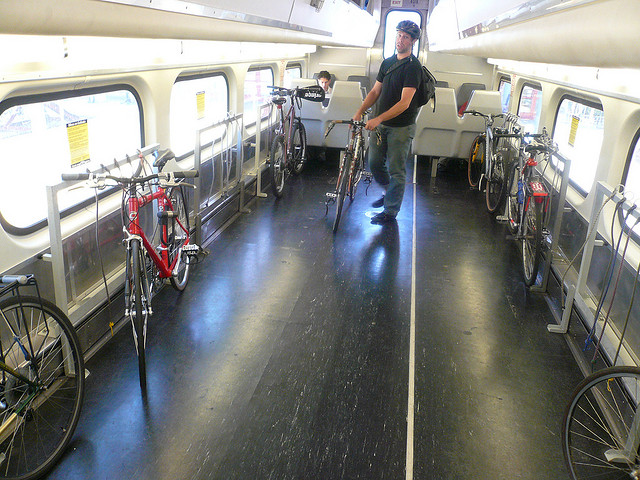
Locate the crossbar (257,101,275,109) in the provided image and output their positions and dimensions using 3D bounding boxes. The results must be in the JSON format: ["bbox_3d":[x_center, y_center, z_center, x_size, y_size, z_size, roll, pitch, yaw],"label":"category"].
[{"bbox_3d":[-0.801,-2.075,6.833,0.241,0.130,0.582,1,24,-2],"label":"crossbar"}]

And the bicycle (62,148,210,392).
[{"bbox_3d":[-1.408,-0.129,3.974,0.836,1.293,1.954,2,21,2],"label":"bicycle"}]

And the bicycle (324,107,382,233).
[{"bbox_3d":[0.457,-1.071,6.215,0.602,1.209,2.059,10,33,6],"label":"bicycle"}]

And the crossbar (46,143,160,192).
[{"bbox_3d":[-1.645,-0.743,3.691,0.162,0.122,1.552,-16,21,24],"label":"crossbar"}]

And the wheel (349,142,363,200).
[{"bbox_3d":[0.534,-0.984,6.524,0.277,0.394,0.637,6,33,6],"label":"wheel"}]

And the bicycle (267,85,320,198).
[{"bbox_3d":[-0.472,-1.674,7.490,0.793,1.597,2.507,3,22,8],"label":"bicycle"}]
